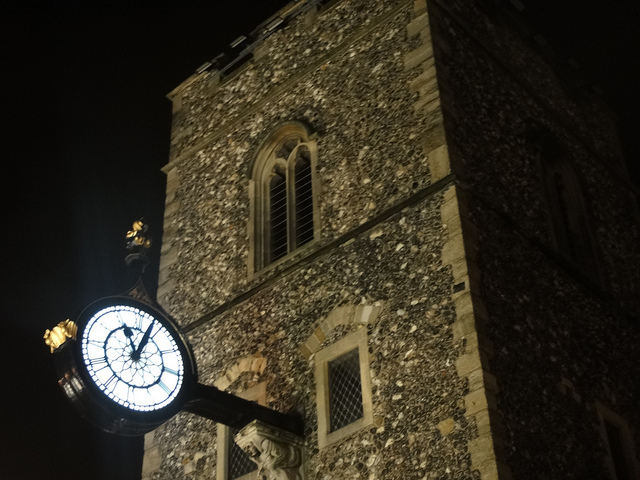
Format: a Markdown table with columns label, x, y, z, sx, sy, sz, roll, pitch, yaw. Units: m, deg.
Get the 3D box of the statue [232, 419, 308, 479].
| label | x | y | z | sx | sy | sz | roll | pitch | yaw |
| --- | --- | --- | --- | --- | --- | --- | --- | --- | --- |
| statue | -0.806 | 3.785 | 30.031 | 1.161 | 0.948 | 0.604 | 22 | -49 | -27 |
